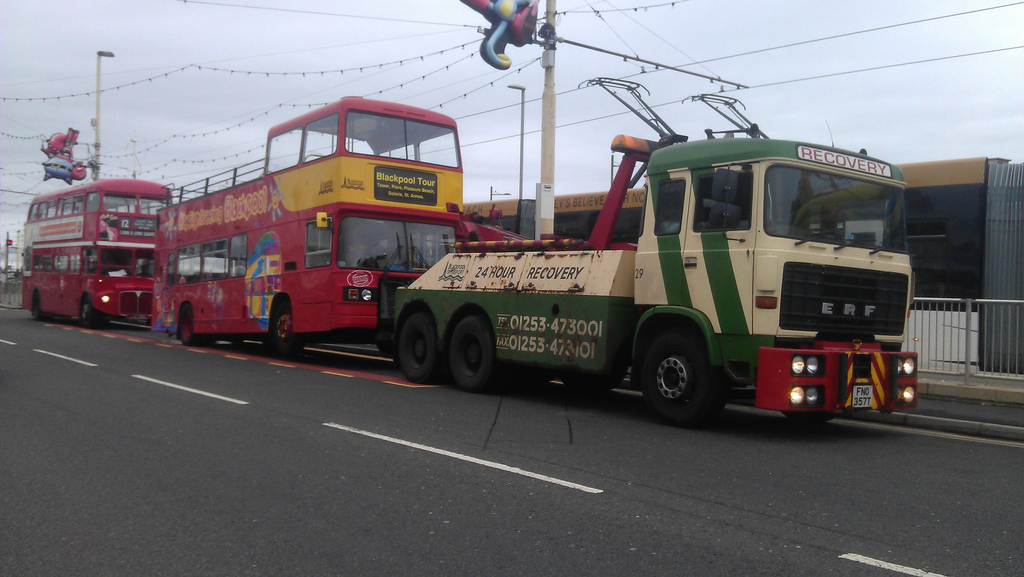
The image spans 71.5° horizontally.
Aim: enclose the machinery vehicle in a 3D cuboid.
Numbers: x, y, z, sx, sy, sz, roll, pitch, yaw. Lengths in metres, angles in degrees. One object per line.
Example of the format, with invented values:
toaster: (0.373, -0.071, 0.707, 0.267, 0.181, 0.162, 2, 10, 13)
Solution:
machinery vehicle: (2.064, 0.155, 14.877, 4.534, 5.736, 10.677, 4, -7, -43)
